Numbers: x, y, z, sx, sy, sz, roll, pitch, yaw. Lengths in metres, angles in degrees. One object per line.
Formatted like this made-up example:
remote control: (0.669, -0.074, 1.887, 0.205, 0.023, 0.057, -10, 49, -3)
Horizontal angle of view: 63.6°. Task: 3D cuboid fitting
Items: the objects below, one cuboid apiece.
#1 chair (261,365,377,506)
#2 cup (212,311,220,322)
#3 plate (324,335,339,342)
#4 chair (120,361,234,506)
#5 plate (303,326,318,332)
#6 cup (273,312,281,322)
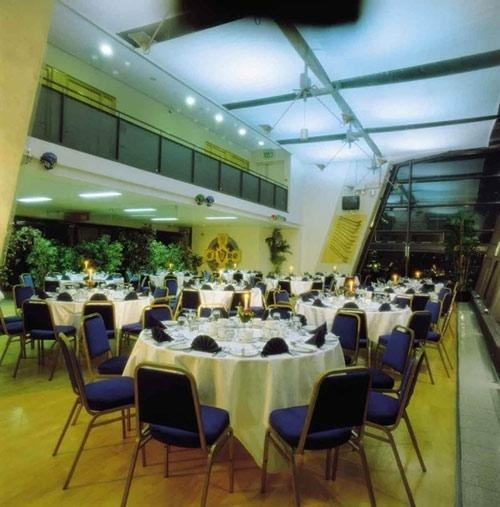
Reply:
chair: (0.395, 1.036, 2.368, 0.557, 0.689, 0.522, 4, 2, -13)
cup: (-0.294, 0.542, 3.524, 0.077, 0.123, 0.072, -1, 6, 0)
plate: (0.675, 0.694, 3.314, 0.097, 0.043, 0.123, 1, -2, 26)
chair: (-0.387, 1.020, 2.356, 0.606, 0.889, 0.555, 5, 2, 9)
plate: (0.545, 0.667, 3.593, 0.136, 0.028, 0.130, 0, 2, 15)
cup: (0.247, 0.545, 3.556, 0.061, 0.053, 0.104, 0, -18, 4)
